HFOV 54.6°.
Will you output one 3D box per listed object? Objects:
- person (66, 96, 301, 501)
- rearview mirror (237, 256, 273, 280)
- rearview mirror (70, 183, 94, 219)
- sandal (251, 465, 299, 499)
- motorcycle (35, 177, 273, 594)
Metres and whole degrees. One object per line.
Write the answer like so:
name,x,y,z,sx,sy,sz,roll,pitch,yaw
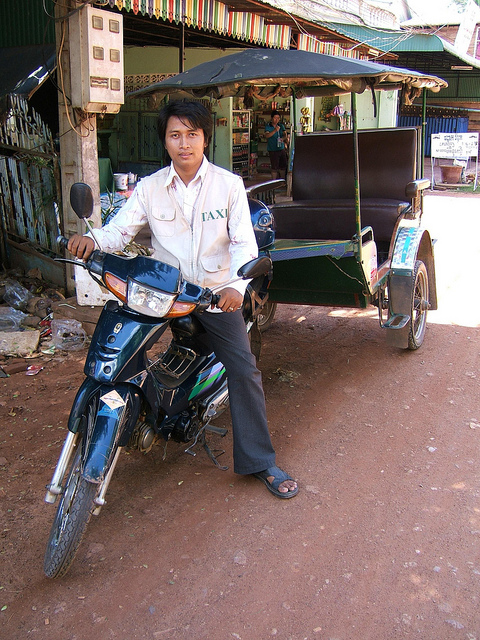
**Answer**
person,-0.132,-0.060,1.997,0.855,1.639,0.676,6,19,24
rearview mirror,0.059,-0.184,1.669,0.128,0.067,0.044,-27,39,-27
rearview mirror,-0.549,-0.406,1.608,0.090,0.128,0.034,0,14,2
sandal,0.165,0.770,2.310,0.103,0.089,0.264,-23,30,-36
motorcycle,-0.295,0.104,2.065,0.644,1.256,1.618,21,28,21
